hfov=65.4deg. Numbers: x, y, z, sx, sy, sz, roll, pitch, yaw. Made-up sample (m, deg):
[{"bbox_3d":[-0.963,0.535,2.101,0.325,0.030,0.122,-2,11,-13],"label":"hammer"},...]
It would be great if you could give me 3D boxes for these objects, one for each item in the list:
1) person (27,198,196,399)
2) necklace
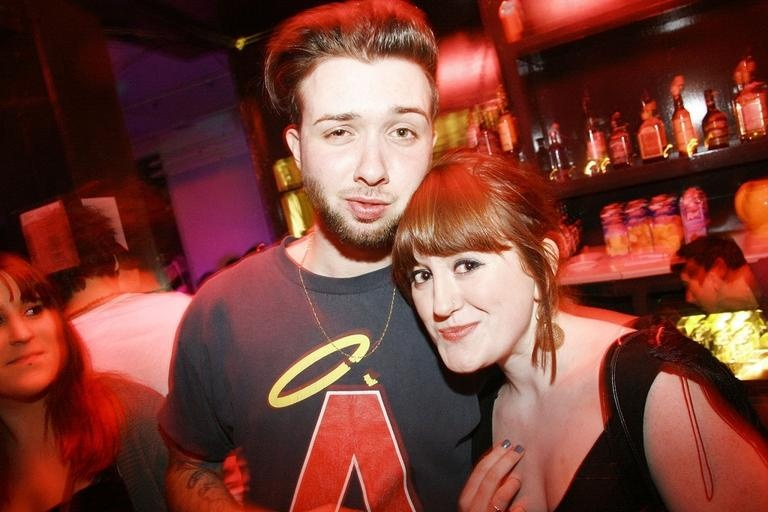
[{"bbox_3d":[-1.721,0.229,3.649,1.102,1.064,0.430,-26,12,-28],"label":"person"},{"bbox_3d":[-0.260,0.189,2.645,0.365,0.535,0.120,2,-12,-3],"label":"necklace"}]
